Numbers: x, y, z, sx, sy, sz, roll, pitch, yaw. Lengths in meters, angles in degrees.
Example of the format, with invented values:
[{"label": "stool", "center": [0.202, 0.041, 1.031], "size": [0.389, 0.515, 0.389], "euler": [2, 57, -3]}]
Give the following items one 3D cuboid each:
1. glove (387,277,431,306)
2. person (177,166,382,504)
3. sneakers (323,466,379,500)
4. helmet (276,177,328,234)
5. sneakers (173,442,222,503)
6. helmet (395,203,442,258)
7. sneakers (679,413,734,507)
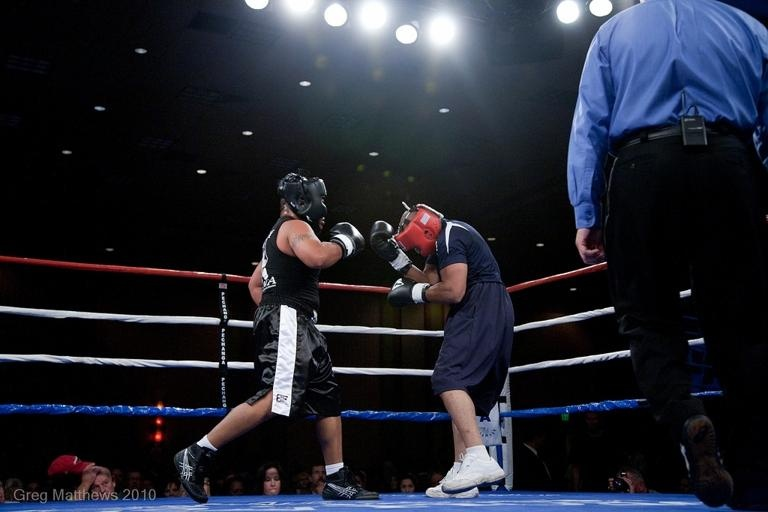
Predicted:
[{"label": "glove", "center": [0.175, 0.223, 3.912], "size": [0.210, 0.089, 0.153], "euler": [-3, 1, 38]}, {"label": "person", "center": [-0.515, 0.391, 3.526], "size": [1.024, 1.821, 0.526], "euler": [5, -17, -17]}, {"label": "sneakers", "center": [-0.134, 1.238, 3.478], "size": [0.360, 0.195, 0.135], "euler": [2, -18, 6]}, {"label": "helmet", "center": [-0.430, -0.292, 3.754], "size": [0.288, 0.277, 0.233], "euler": [11, -12, 22]}, {"label": "sneakers", "center": [-0.970, 1.117, 3.299], "size": [0.193, 0.290, 0.201], "euler": [5, -17, -17]}, {"label": "helmet", "center": [0.230, -0.161, 4.007], "size": [0.331, 0.299, 0.269], "euler": [8, -4, 23]}, {"label": "sneakers", "center": [1.196, 0.776, 2.461], "size": [0.155, 0.383, 0.178], "euler": [-12, -26, 17]}]
